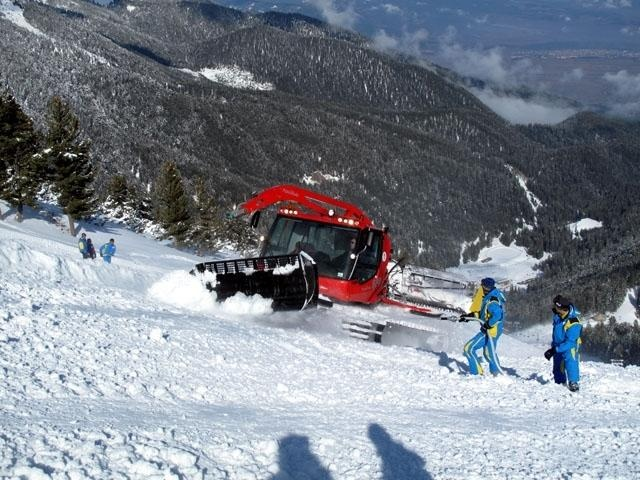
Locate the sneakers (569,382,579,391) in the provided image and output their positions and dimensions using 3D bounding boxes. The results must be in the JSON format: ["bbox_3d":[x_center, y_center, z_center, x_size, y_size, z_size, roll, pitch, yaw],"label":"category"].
[{"bbox_3d":[6.263,3.603,18.512,0.269,0.209,0.182,13,5,7],"label":"sneakers"}]

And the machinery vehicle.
[{"bbox_3d":[0.565,0.489,22.360,8.427,3.151,3.097,12,5,-12],"label":"machinery vehicle"}]

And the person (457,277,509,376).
[{"bbox_3d":[4.253,2.193,19.111,0.899,2.220,0.875,10,5,-10],"label":"person"}]

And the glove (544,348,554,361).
[{"bbox_3d":[5.762,2.833,18.876,0.183,0.279,0.081,-7,-44,21],"label":"glove"}]

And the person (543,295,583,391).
[{"bbox_3d":[6.205,2.550,18.926,1.083,2.267,0.892,14,6,23],"label":"person"}]

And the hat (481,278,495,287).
[{"bbox_3d":[4.258,1.055,18.960,0.317,0.216,0.391,14,6,10],"label":"hat"}]

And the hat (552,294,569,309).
[{"bbox_3d":[6.101,1.580,18.981,0.302,0.432,0.393,-27,-5,3],"label":"hat"}]
